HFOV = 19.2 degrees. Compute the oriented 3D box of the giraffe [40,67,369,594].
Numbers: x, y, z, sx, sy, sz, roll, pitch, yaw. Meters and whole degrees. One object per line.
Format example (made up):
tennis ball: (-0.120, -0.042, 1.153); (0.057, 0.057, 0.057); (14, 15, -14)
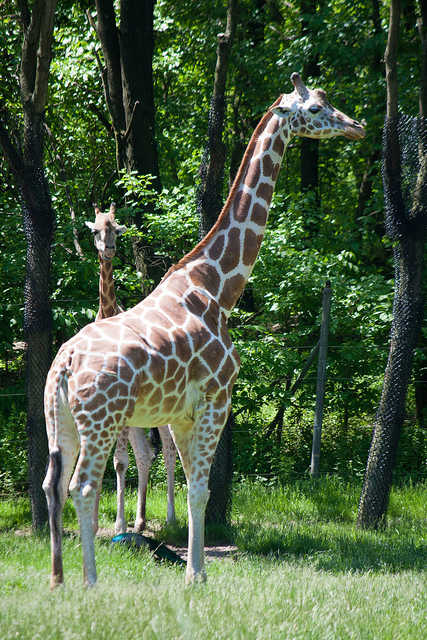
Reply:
giraffe: (-0.366, -0.020, 11.178); (2.371, 4.428, 3.272); (4, 2, 40)
